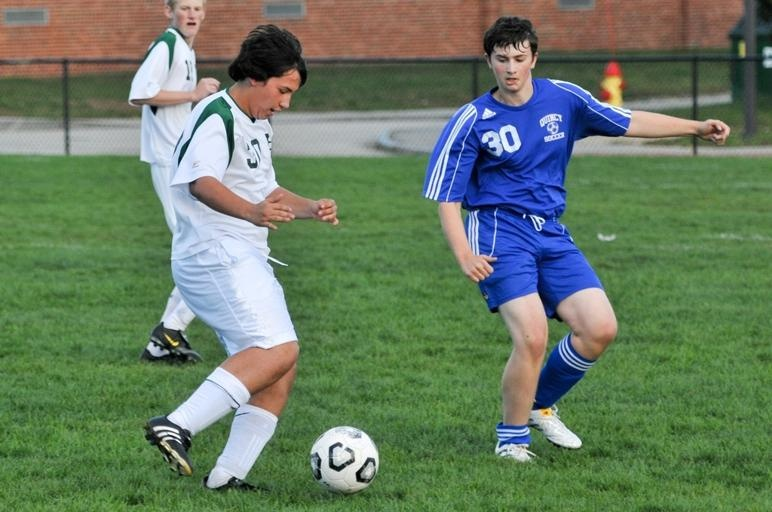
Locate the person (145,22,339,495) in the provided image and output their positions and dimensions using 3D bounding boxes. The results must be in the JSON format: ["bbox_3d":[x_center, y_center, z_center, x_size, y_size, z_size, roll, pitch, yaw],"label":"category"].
[{"bbox_3d":[-1.095,0.016,8.266,1.107,3.363,0.785,0,9,-9],"label":"person"}]

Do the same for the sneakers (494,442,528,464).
[{"bbox_3d":[0.953,1.498,8.709,0.256,0.105,0.104,1,10,5],"label":"sneakers"}]

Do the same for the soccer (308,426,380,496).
[{"bbox_3d":[-0.288,1.513,8.455,0.529,0.424,0.498,-2,2,0],"label":"soccer"}]
